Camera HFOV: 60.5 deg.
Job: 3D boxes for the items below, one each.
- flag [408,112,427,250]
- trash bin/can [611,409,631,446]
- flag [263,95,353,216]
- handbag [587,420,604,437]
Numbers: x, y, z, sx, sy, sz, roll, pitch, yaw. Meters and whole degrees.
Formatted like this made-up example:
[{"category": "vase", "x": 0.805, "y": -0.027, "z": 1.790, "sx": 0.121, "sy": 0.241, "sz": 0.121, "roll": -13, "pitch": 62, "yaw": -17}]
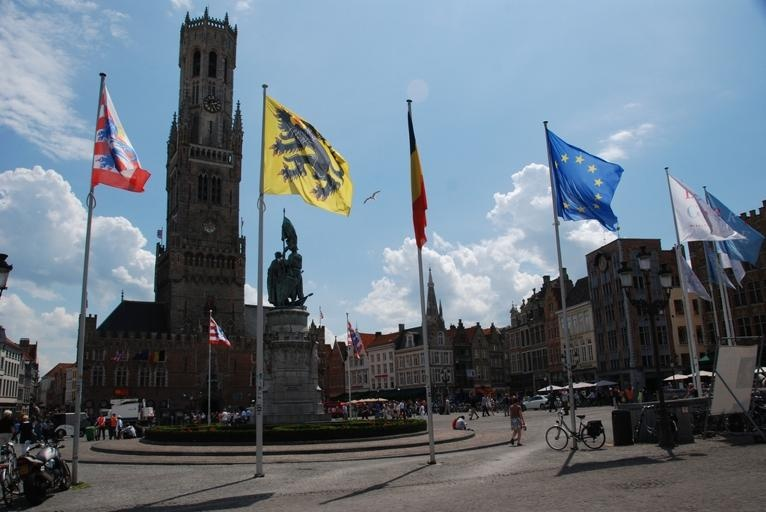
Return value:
[{"category": "flag", "x": 1.432, "y": -3.260, "z": 28.713, "sx": 0.591, "sy": 6.420, "sz": 1.894, "roll": -7, "pitch": -16, "yaw": 3}, {"category": "trash bin/can", "x": 10.383, "y": 7.403, "z": 28.403, "sx": 0.998, "sy": 1.524, "sz": 0.467, "roll": -3, "pitch": -16, "yaw": -11}, {"category": "flag", "x": -3.570, "y": -3.981, "z": 27.804, "sx": 5.518, "sy": 5.935, "sz": 0.701, "roll": 21, "pitch": -32, "yaw": -40}, {"category": "handbag", "x": 9.091, "y": 7.388, "z": 28.244, "sx": 0.678, "sy": 0.676, "sz": 0.696, "roll": 0, "pitch": -8, "yaw": 14}]
